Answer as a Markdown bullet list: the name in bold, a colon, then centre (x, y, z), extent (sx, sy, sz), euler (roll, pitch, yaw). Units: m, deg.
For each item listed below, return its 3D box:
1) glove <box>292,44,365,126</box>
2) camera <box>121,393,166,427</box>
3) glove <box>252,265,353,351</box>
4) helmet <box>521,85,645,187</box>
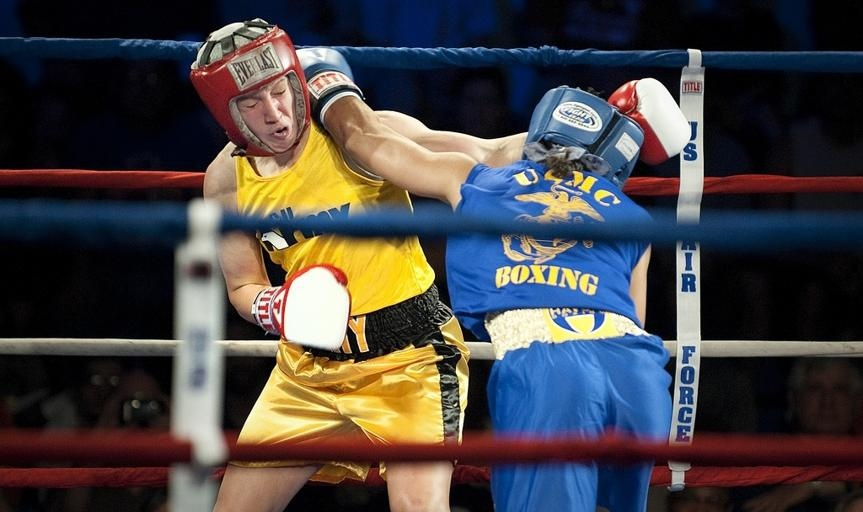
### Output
- **glove**: centre (-0.493, -0.824, 4.643), extent (0.177, 0.274, 0.421), euler (0, -13, 26)
- **camera**: centre (-1.564, 0.833, 5.362), extent (0.208, 0.158, 0.045), euler (-5, -13, -10)
- **glove**: centre (-0.593, 0.222, 4.349), extent (0.223, 0.347, 0.487), euler (6, -7, -39)
- **helmet**: centre (0.739, -0.500, 4.674), extent (0.570, 0.449, 0.423), euler (14, -25, 18)
